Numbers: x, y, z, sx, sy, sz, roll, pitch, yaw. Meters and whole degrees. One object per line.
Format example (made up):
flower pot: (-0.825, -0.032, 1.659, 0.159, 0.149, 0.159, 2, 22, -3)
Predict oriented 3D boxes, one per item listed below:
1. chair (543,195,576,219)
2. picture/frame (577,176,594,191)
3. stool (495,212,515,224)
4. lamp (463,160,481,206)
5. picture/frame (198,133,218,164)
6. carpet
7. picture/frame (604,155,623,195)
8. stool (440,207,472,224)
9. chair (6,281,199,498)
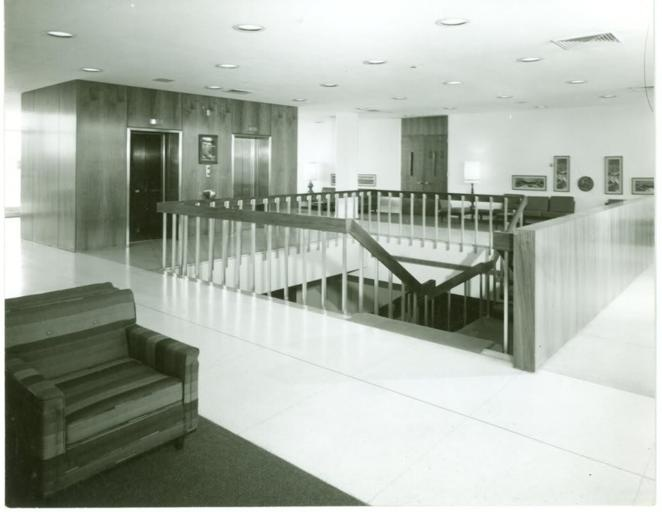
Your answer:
chair: (6.012, -1.298, 13.962, 0.679, 0.482, 1.010, 6, 17, 26)
picture/frame: (6.686, -1.917, 14.001, 0.365, 0.406, 0.076, -1, 0, 37)
stool: (4.158, -0.918, 12.760, 0.466, 0.246, 0.650, 3, 7, 23)
lamp: (3.953, -2.222, 15.014, 0.450, 0.878, 1.087, 3, 15, 14)
picture/frame: (-2.813, -2.437, 12.182, 0.103, 0.662, 0.581, 8, 17, 33)
carpet: (-0.986, 1.498, 3.634, 2.248, 0.150, 0.910, -4, 16, -11)
picture/frame: (7.227, -2.058, 13.657, 0.457, 0.937, 0.173, 6, 15, 25)
stool: (3.526, -1.212, 14.862, 0.795, 0.507, 1.723, 3, 16, 15)
chair: (-1.700, 0.924, 4.010, 1.295, 1.311, 1.209, 9, 11, 44)
